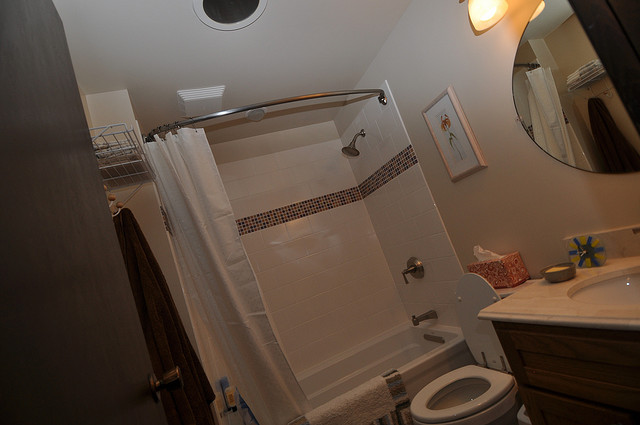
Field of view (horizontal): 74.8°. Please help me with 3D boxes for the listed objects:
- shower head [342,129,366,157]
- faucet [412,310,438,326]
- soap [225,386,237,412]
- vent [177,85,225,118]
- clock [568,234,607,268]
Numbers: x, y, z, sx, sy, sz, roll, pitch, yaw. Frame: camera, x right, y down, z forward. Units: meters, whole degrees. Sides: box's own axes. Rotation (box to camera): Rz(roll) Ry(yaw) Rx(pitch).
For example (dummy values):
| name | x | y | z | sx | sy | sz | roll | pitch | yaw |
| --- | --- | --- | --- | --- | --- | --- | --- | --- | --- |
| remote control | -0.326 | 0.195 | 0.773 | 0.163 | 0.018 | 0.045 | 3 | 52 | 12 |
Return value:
| name | x | y | z | sx | sy | sz | roll | pitch | yaw |
| --- | --- | --- | --- | --- | --- | --- | --- | --- | --- |
| shower head | 0.295 | -0.576 | 3.446 | 0.226 | 0.251 | 0.157 | -14 | 25 | -39 |
| faucet | 0.766 | 0.763 | 3.083 | 0.177 | 0.078 | 0.084 | -26 | 13 | 17 |
| soap | -0.466 | 0.964 | 2.172 | 0.067 | 0.098 | 0.025 | -2 | -1 | 17 |
| vent | -0.774 | -0.725 | 2.720 | 0.283 | 0.112 | 0.343 | -16 | -8 | -19 |
| clock | 1.245 | 0.176 | 1.935 | 0.044 | 0.128 | 0.123 | 5 | -20 | -30 |
